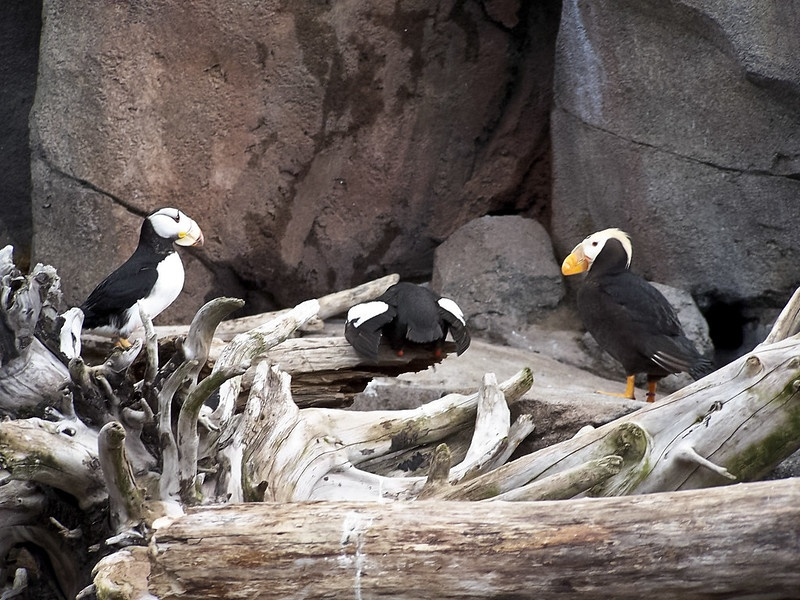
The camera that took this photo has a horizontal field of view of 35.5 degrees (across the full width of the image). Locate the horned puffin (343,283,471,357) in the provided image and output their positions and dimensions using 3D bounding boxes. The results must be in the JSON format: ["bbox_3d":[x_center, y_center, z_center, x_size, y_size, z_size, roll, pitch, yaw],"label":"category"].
[{"bbox_3d":[0.020,0.158,8.520,0.513,0.349,0.630,3,-10,-9],"label":"horned puffin"}]
